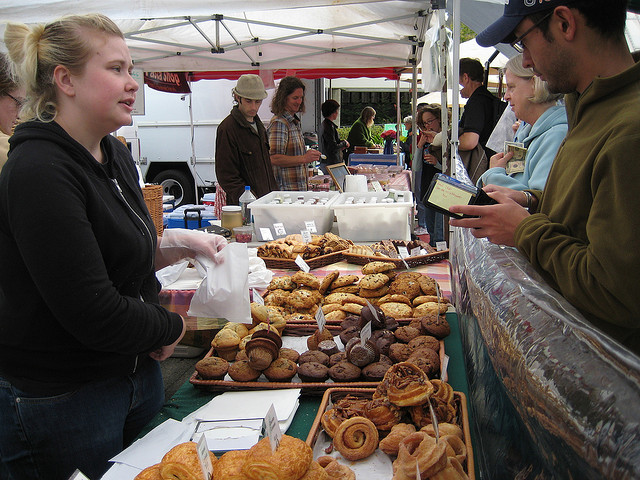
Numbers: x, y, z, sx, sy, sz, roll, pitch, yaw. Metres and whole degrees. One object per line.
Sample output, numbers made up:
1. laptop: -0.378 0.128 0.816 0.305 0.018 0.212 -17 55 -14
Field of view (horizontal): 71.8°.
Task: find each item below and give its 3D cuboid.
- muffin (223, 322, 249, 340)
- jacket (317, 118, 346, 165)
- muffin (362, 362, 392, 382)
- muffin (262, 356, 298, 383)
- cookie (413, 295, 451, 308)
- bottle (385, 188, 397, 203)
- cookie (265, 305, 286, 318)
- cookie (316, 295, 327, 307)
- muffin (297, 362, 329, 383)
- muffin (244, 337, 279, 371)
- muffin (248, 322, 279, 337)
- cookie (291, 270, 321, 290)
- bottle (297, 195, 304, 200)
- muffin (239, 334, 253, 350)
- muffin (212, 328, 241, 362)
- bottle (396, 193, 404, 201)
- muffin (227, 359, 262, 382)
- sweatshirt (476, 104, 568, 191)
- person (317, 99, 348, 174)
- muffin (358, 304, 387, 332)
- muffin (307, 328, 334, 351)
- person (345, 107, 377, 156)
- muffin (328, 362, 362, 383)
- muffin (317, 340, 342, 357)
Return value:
1. muffin: -0.455 0.483 2.444 0.094 0.030 0.090 18 15 33
2. jacket: 0.270 -2.149 9.982 0.642 1.139 0.863 -3 12 -8
3. muffin: 0.261 0.619 2.097 0.082 0.044 0.085 -5 18 14
4. muffin: -0.193 0.627 2.136 0.114 0.074 0.119 1 -9 3
5. cookie: 0.688 0.370 2.768 0.132 0.041 0.103 -3 4 -13
6. bottle: 0.713 -0.447 4.365 0.121 0.211 0.125 0 18 0
7. cookie: -0.263 0.420 2.706 0.080 0.026 0.083 11 0 17
8. cookie: 0.005 0.396 2.884 0.051 0.016 0.051 -23 7 23
9. muffin: -0.029 0.632 2.118 0.091 0.052 0.096 -1 4 -2
10. muffin: -0.286 0.537 2.137 0.141 0.150 0.139 2 33 27
11. muffin: -0.292 0.446 2.274 0.118 0.062 0.120 13 -8 -29
12. cookie: -0.099 0.274 3.027 0.171 0.129 0.148 -17 17 -34
13. bottle: -0.204 -0.457 4.669 0.060 0.042 0.062 0 3 0
14. muffin: -0.398 0.536 2.345 0.063 0.023 0.063 -28 14 22
15. muffin: -0.485 0.541 2.341 0.135 0.147 0.139 -1 9 5
16. bottle: 0.802 -0.433 4.384 0.078 0.085 0.140 -3 -6 11
17. muffin: -0.376 0.616 2.160 0.112 0.063 0.115 0 4 -17
18. sweatshirt: 1.274 -0.571 2.600 0.196 0.562 0.540 16 2 -17
19. person: 0.262 -2.289 9.720 0.665 1.541 1.300 -6 14 1
20. muffin: 0.286 0.420 2.357 0.128 0.134 0.044 8 -22 -31
21. muffin: -0.003 0.532 2.398 0.109 0.043 0.109 0 33 47
22. person: 1.213 -3.149 12.518 0.943 1.150 0.787 -11 15 -15
23. muffin: 0.121 0.633 2.111 0.163 0.063 0.090 -8 14 -3
24. muffin: 0.039 0.560 2.304 0.085 0.031 0.064 -8 20 -28
